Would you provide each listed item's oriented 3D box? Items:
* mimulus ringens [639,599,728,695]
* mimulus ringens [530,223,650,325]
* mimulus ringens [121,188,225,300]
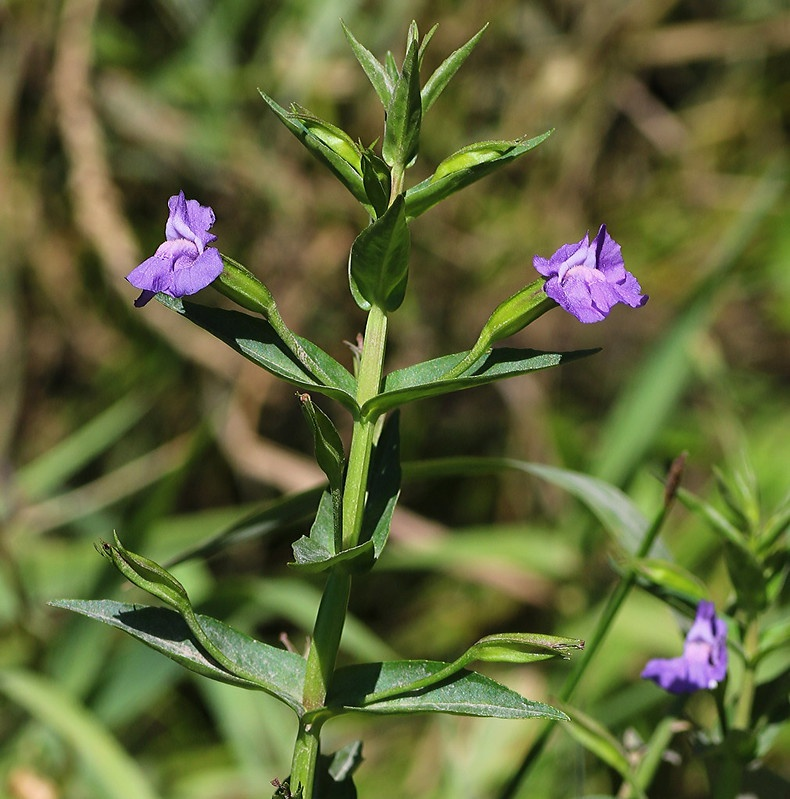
[{"bbox_3d":[0.370,0.343,1.449,0.162,0.118,0.056,10,-17,-12],"label":"mimulus ringens"},{"bbox_3d":[0.244,-0.154,1.383,0.126,0.135,0.054,19,-7,-19],"label":"mimulus ringens"},{"bbox_3d":[-0.264,-0.195,1.380,0.139,0.133,0.065,10,-42,6],"label":"mimulus ringens"}]
